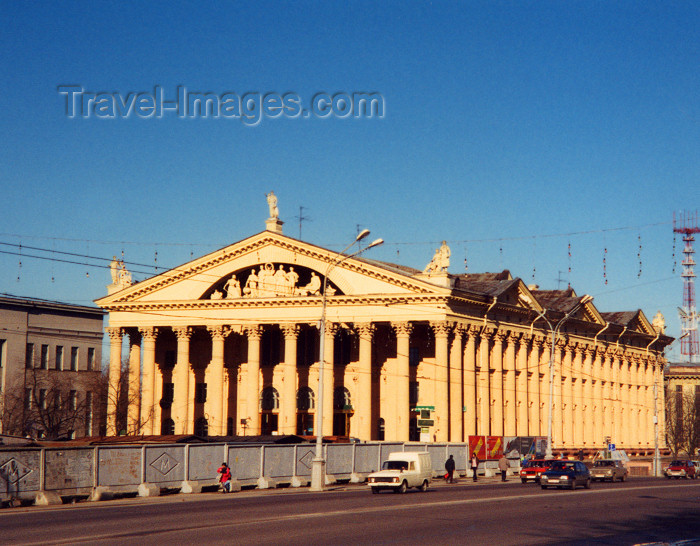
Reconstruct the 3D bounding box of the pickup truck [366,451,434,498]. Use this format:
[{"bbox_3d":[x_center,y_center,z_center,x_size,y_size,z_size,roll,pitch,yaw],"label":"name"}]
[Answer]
[{"bbox_3d":[2.923,11.498,79.725,2.409,2.016,4.339,-3,-5,29],"label":"pickup truck"}]
